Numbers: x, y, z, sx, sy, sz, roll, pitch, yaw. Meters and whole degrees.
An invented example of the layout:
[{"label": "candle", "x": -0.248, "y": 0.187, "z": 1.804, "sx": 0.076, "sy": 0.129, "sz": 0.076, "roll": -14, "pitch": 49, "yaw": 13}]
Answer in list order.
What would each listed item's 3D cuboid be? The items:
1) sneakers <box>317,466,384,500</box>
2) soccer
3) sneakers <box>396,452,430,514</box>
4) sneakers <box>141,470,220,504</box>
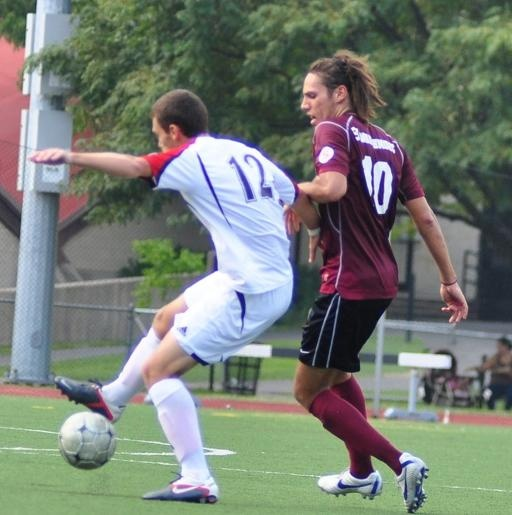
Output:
[{"label": "sneakers", "x": 0.718, "y": 1.656, "z": 10.270, "sx": 0.531, "sy": 0.252, "sz": 0.196, "roll": 5, "pitch": 4, "yaw": 13}, {"label": "soccer", "x": -1.254, "y": 1.337, "z": 10.034, "sx": 0.396, "sy": 0.442, "sz": 0.404, "roll": -2, "pitch": 7, "yaw": -15}, {"label": "sneakers", "x": 1.133, "y": 1.644, "z": 9.985, "sx": 0.227, "sy": 0.440, "sz": 0.175, "roll": 4, "pitch": -2, "yaw": -1}, {"label": "sneakers", "x": -0.554, "y": 1.655, "z": 9.908, "sx": 0.557, "sy": 0.231, "sz": 0.200, "roll": 3, "pitch": -16, "yaw": 1}]
